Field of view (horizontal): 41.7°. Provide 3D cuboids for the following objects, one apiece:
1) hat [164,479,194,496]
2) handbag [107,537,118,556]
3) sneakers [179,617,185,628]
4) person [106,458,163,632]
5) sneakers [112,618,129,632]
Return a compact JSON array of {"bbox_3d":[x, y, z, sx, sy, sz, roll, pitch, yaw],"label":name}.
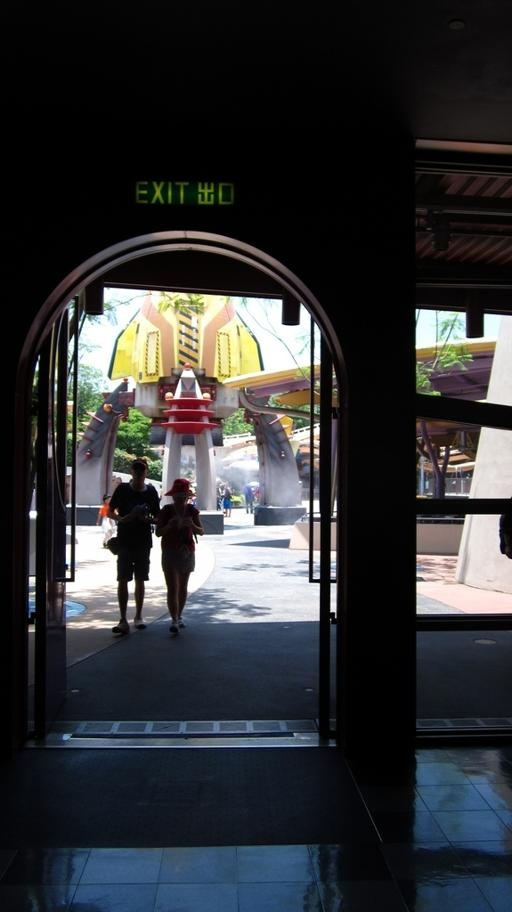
[{"bbox_3d":[-0.732,0.269,6.463,0.186,0.154,0.267,1,-27,0],"label":"hat"},{"bbox_3d":[-1.343,0.848,6.354,0.101,0.168,0.048,-1,-9,8],"label":"handbag"},{"bbox_3d":[-0.757,1.701,6.824,0.040,0.057,0.127,2,3,3],"label":"sneakers"},{"bbox_3d":[-1.196,0.876,6.591,0.478,1.718,0.872,1,-2,-11],"label":"person"},{"bbox_3d":[-1.304,1.650,6.518,0.081,0.127,0.270,-5,-27,5],"label":"sneakers"}]
